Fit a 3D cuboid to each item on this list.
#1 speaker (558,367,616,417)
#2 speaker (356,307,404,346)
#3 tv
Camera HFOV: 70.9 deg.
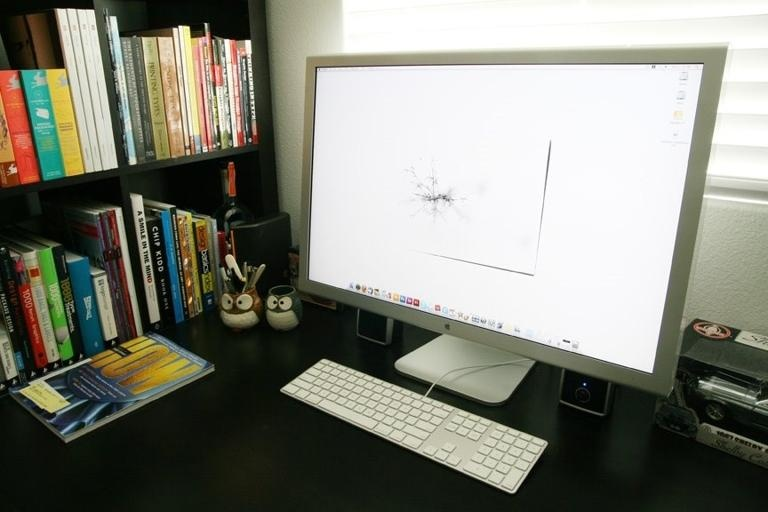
[{"bbox_3d":[0.448,0.282,1.179,0.105,0.096,0.079,10,24,26],"label":"speaker"},{"bbox_3d":[-0.022,0.170,1.392,0.122,0.087,0.162,2,7,-26],"label":"speaker"},{"bbox_3d":[0.196,-0.094,1.188,0.895,0.658,0.201,12,25,34],"label":"tv"}]
